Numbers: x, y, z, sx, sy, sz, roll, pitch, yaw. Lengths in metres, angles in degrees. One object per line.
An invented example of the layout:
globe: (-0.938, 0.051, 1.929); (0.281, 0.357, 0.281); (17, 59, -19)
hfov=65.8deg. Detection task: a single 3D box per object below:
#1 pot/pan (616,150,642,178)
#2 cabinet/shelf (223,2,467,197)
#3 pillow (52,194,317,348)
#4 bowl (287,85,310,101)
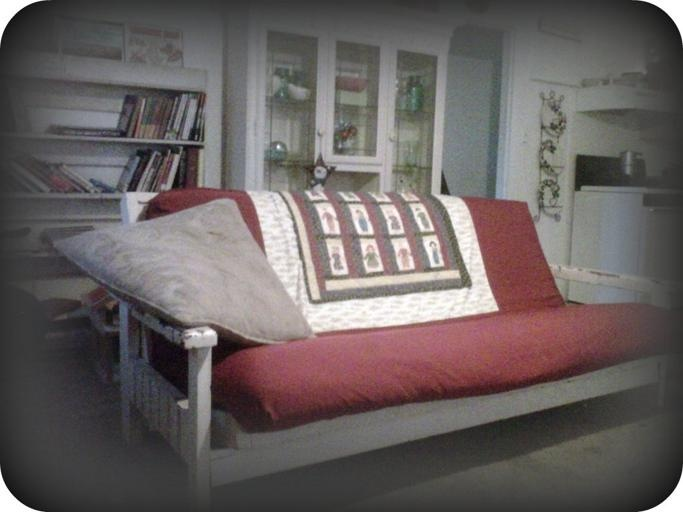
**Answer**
pot/pan: (1.587, -0.516, 2.976); (0.149, 0.136, 0.099); (10, -13, -6)
cabinet/shelf: (-0.004, -0.847, 2.950); (1.240, 0.973, 0.335); (1, 9, -17)
pillow: (-0.375, -0.024, 1.375); (0.560, 0.163, 0.563); (18, 28, 28)
bowl: (-0.220, -0.857, 2.765); (0.119, 0.078, 0.020); (-1, 10, -28)
